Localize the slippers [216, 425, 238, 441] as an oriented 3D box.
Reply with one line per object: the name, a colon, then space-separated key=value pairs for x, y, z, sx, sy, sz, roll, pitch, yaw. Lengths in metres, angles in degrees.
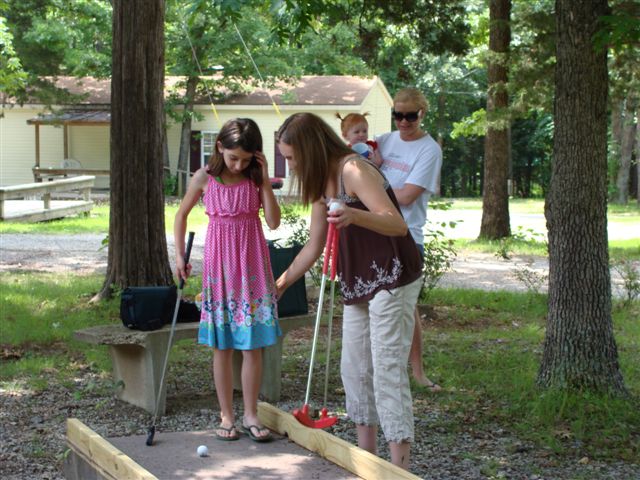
slippers: x=-0.721 y=1.537 z=6.823 sx=0.183 sy=0.108 sz=0.128 roll=-2 pitch=5 yaw=-14

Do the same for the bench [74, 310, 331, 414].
bench: x=-1.102 y=1.127 z=8.269 sx=2.319 sy=0.841 sz=0.768 roll=-2 pitch=10 yaw=-37

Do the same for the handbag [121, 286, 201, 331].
handbag: x=-1.483 y=0.625 z=7.687 sx=0.518 sy=0.237 sz=0.392 roll=2 pitch=1 yaw=33

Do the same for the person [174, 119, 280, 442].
person: x=-0.724 y=0.298 z=6.946 sx=0.826 sy=2.556 sz=0.644 roll=-1 pitch=5 yaw=-3

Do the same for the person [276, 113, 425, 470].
person: x=0.227 y=0.365 z=6.323 sx=0.947 sy=2.617 sz=0.594 roll=1 pitch=5 yaw=22
